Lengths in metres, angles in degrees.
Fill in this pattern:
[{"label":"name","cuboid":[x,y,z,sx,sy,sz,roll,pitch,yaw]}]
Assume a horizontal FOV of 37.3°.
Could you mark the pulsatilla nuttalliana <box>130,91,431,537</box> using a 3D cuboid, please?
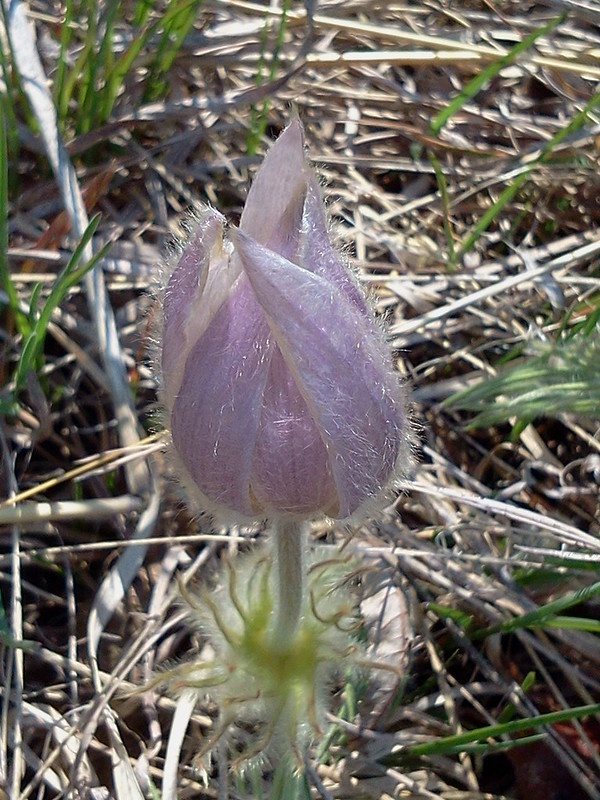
[{"label":"pulsatilla nuttalliana","cuboid":[-0.032,-0.067,1.104,0.310,0.426,0.404,-24,61,-22]}]
